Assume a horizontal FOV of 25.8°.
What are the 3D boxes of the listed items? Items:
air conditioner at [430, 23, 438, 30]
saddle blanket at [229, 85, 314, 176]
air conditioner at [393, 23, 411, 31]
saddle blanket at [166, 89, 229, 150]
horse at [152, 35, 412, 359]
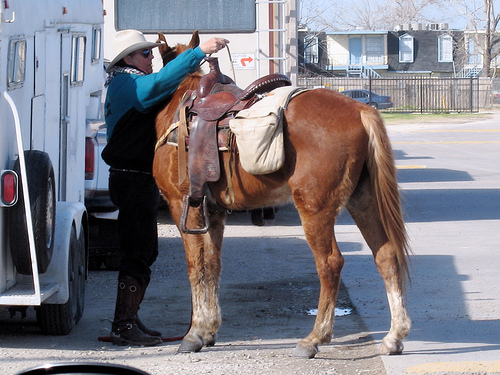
[{"bbox_3d":[11.732,-10.137,68.772,0.475,0.326,1.651,1,11,11],"label":"air conditioner"},{"bbox_3d":[0.314,-0.560,10.114,0.907,0.734,0.559,-11,9,-23],"label":"saddle blanket"},{"bbox_3d":[9.265,-9.553,65.332,0.938,0.335,3.565,1,11,8],"label":"air conditioner"},{"bbox_3d":[-0.493,-0.634,10.264,0.600,0.519,0.173,-3,-6,24],"label":"saddle blanket"},{"bbox_3d":[-0.142,0.079,10.765,4.011,2.839,1.214,0,-3,38],"label":"horse"}]
